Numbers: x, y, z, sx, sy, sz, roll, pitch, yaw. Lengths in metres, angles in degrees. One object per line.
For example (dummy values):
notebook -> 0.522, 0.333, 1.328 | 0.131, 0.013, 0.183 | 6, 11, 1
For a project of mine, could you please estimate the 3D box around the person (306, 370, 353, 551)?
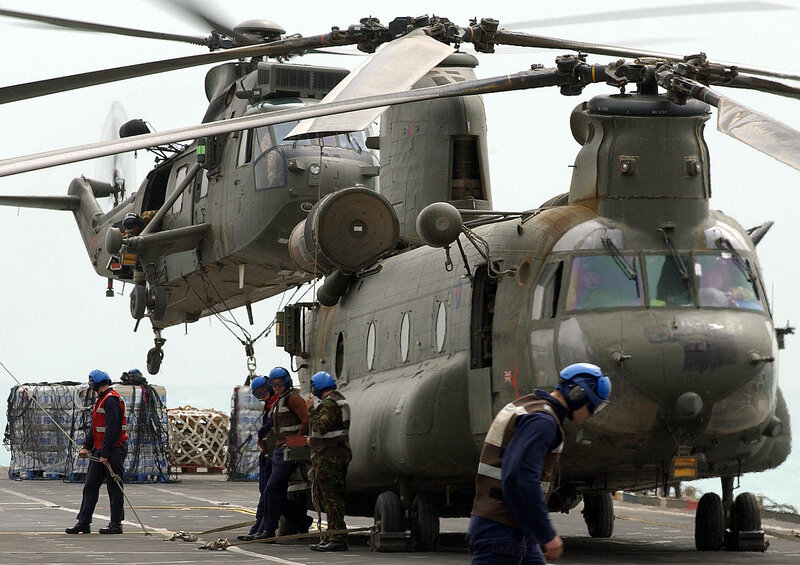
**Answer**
person -> -1.046, 2.534, 20.760 | 0.743, 2.464, 1.046 | 3, -14, -17

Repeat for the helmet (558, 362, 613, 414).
helmet -> 1.841, 1.045, 14.429 | 0.441, 0.498, 0.445 | 2, -8, -4

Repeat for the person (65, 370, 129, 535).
person -> -4.526, 2.622, 22.350 | 0.947, 2.436, 0.996 | 5, -10, -39

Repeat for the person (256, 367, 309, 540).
person -> -1.869, 2.552, 21.616 | 1.077, 2.483, 1.017 | 3, -12, -19
